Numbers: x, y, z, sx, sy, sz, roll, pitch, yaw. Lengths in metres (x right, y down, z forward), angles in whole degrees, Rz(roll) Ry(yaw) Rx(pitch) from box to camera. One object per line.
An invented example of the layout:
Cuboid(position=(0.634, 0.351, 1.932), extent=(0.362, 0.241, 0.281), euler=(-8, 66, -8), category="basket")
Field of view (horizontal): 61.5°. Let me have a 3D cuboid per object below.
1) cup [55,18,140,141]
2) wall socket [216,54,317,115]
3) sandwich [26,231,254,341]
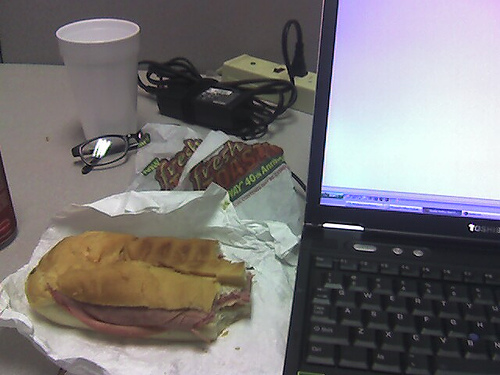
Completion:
Cuboid(position=(-0.235, -0.193, 0.739), extent=(0.155, 0.219, 0.173), euler=(-12, 34, -23), category="cup")
Cuboid(position=(0.022, -0.209, 0.803), extent=(0.196, 0.052, 0.116), euler=(25, 47, 23), category="wall socket")
Cuboid(position=(-0.108, 0.100, 0.444), extent=(0.197, 0.063, 0.111), euler=(6, 44, -1), category="sandwich")
